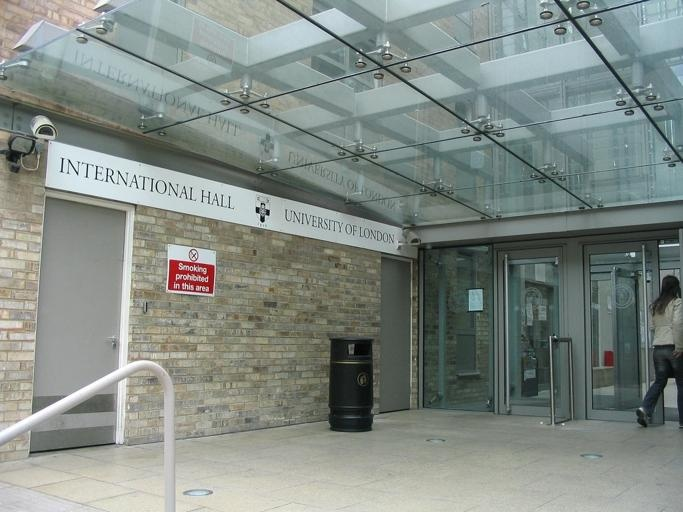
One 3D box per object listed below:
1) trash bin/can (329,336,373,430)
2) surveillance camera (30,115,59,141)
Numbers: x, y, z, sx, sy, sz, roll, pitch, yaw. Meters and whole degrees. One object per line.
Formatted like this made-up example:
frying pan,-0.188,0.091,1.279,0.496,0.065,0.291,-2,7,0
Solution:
trash bin/can,0.144,1.873,8.003,0.628,1.361,0.326,0,-10,-3
surveillance camera,-3.057,-1.347,5.632,0.190,0.262,0.209,6,-12,-34
